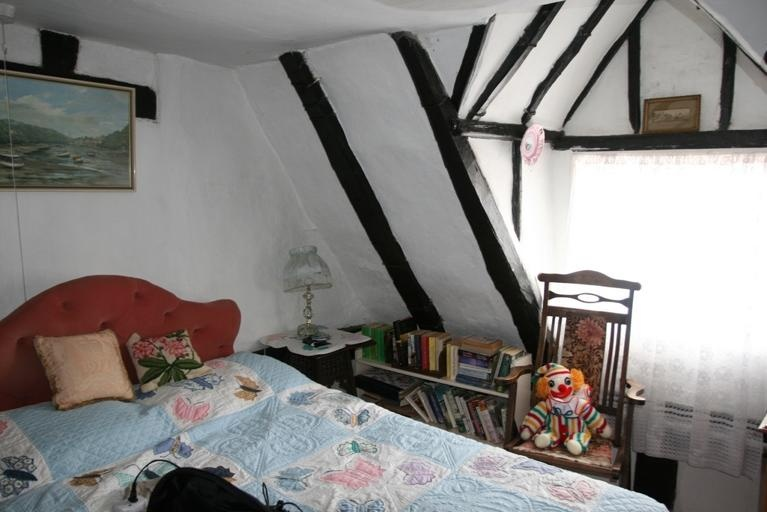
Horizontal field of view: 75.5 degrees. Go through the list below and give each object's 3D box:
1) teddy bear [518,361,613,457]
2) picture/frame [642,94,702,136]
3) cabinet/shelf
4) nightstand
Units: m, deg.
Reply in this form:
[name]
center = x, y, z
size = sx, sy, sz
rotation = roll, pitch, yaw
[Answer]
[teddy bear]
center = 1.231, 1.037, 3.395
size = 0.573, 0.532, 0.415
rotation = -2, 1, 22
[picture/frame]
center = 2.077, -1.002, 3.526
size = 0.356, 0.245, 0.028
rotation = 2, 3, 41
[cabinet/shelf]
center = 0.519, 1.073, 3.705
size = 0.696, 0.402, 0.273
rotation = 8, 26, 39
[nightstand]
center = -0.472, 0.804, 4.029
size = 0.615, 0.586, 0.611
rotation = 5, 11, 39
